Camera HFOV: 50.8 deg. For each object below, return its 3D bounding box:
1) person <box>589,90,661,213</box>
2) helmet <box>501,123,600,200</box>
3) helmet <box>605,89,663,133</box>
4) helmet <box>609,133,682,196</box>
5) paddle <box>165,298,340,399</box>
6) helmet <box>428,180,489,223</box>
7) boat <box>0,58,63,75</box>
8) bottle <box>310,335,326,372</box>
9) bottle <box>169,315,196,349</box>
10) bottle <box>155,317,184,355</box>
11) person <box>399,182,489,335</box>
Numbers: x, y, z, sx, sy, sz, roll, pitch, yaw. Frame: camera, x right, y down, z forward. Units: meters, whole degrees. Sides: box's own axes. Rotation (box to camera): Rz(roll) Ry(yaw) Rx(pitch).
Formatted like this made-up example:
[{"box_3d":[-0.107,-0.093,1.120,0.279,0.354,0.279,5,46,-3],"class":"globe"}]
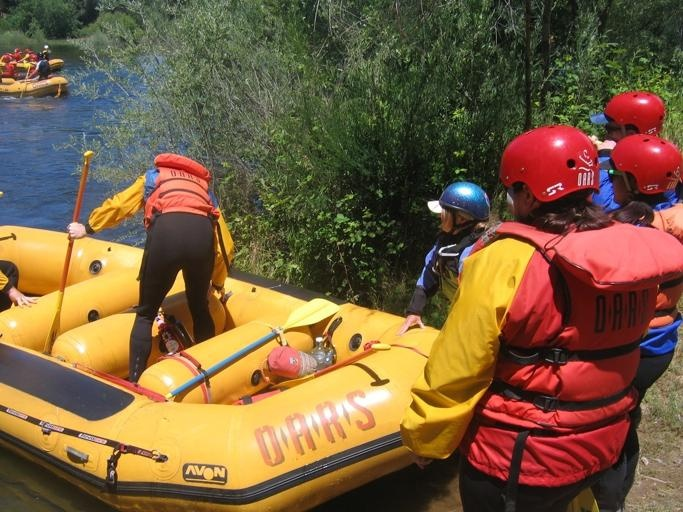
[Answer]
[{"box_3d":[2.153,-0.934,5.476,0.484,0.783,0.452,15,43,25],"class":"person"},{"box_3d":[1.031,-0.418,3.597,0.418,0.396,0.495,3,-2,-42],"class":"helmet"},{"box_3d":[2.172,-1.023,5.319,0.428,0.327,0.372,4,3,8],"class":"helmet"},{"box_3d":[1.835,-0.553,4.360,0.363,0.322,0.305,2,30,27],"class":"helmet"},{"box_3d":[-0.679,0.742,5.546,1.252,0.052,0.206,-33,65,-30],"class":"paddle"},{"box_3d":[0.845,-0.405,5.116,0.443,0.257,0.337,8,18,8],"class":"helmet"},{"box_3d":[-5.263,-3.242,12.338,1.201,0.269,0.819,4,16,27],"class":"boat"},{"box_3d":[-0.180,0.785,5.679,0.135,0.267,0.139,0,23,0],"class":"bottle"},{"box_3d":[-1.273,0.611,5.820,0.135,0.284,0.067,-27,10,19],"class":"bottle"},{"box_3d":[-1.362,0.648,5.730,0.161,0.354,0.099,-15,13,-10],"class":"bottle"},{"box_3d":[0.732,0.002,5.235,0.490,1.195,0.662,21,50,13],"class":"person"}]
